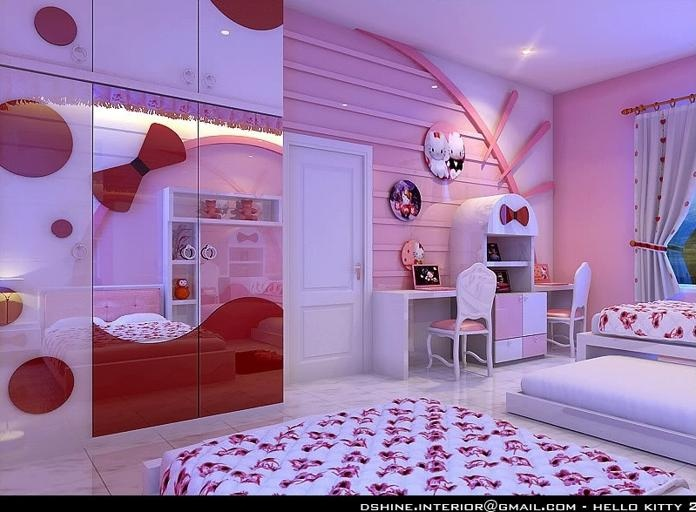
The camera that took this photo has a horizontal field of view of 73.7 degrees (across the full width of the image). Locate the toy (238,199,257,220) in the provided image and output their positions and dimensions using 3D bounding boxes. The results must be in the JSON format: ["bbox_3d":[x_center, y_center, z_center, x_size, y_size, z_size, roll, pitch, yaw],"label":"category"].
[{"bbox_3d":[-0.789,-0.366,3.622,0.154,0.187,0.103,-1,-1,-38],"label":"toy"}]

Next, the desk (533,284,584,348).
[{"bbox_3d":[2.736,0.785,5.939,0.545,0.864,0.548,0,0,-35],"label":"desk"}]

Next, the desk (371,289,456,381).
[{"bbox_3d":[0.666,0.848,4.989,0.892,0.837,0.474,-1,1,-41],"label":"desk"}]

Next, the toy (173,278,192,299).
[{"bbox_3d":[-1.193,0.230,3.371,0.125,0.176,0.127,-1,2,-15],"label":"toy"}]

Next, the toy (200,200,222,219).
[{"bbox_3d":[-1.025,-0.350,3.478,0.133,0.129,0.128,-1,1,-38],"label":"toy"}]

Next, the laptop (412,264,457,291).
[{"bbox_3d":[0.903,0.239,5.220,0.385,0.241,0.292,1,-2,-39],"label":"laptop"}]

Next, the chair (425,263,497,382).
[{"bbox_3d":[1.222,0.662,5.011,0.680,1.184,0.829,0,1,17],"label":"chair"}]
